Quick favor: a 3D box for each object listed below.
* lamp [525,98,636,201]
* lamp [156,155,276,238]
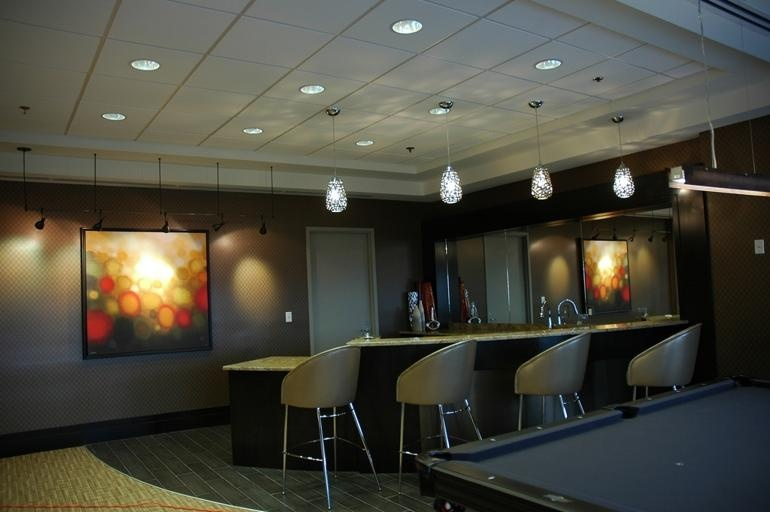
[{"bbox_3d":[2.507,-1.372,6.901,1.129,1.059,0.252,0,-8,-14],"label":"lamp"},{"bbox_3d":[-2.379,-0.812,7.854,1.647,1.104,0.438,-4,9,-25],"label":"lamp"}]
